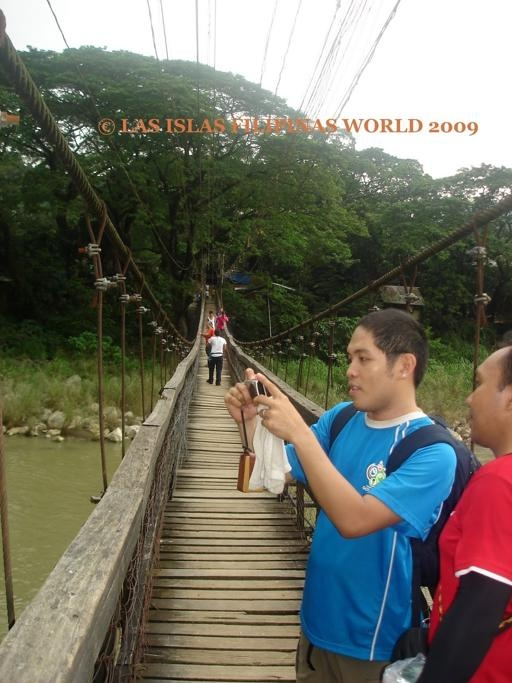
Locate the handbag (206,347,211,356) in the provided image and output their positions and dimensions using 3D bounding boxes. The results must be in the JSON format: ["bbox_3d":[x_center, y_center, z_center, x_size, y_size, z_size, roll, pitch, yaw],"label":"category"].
[{"bbox_3d":[-0.819,0.158,9.253,0.036,0.159,0.219,2,3,-17],"label":"handbag"}]
